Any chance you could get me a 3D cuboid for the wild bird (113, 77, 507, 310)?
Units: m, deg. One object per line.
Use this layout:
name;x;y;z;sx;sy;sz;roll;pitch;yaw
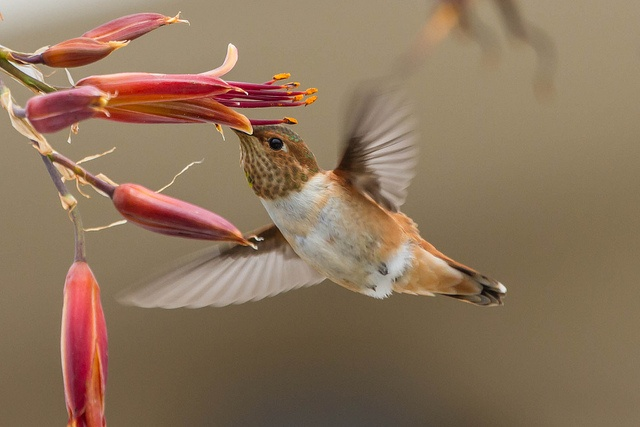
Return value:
wild bird;0.083;-0.014;1.223;0.475;0.243;0.656;4;21;27
